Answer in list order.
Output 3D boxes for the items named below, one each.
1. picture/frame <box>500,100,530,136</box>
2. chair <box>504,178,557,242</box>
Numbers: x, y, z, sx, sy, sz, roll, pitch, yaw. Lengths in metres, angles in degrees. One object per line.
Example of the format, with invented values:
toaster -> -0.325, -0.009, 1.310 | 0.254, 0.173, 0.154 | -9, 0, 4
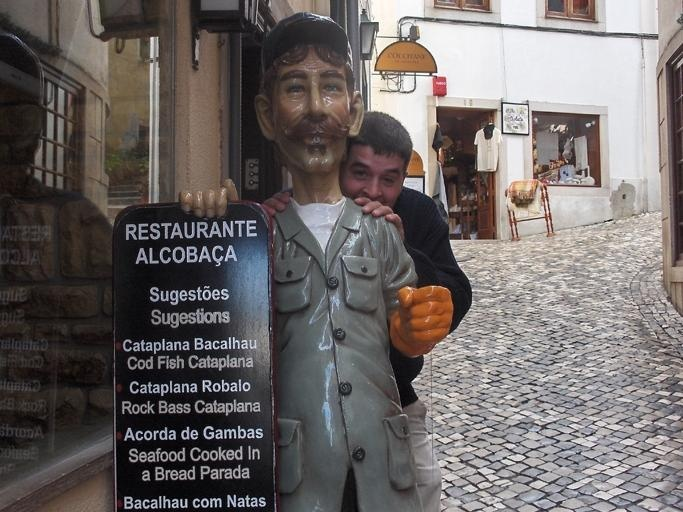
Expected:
picture/frame -> 3.569, -2.869, 15.672 | 0.567, 0.725, 0.061 | -5, -4, -26
chair -> 3.780, -0.973, 15.372 | 0.796, 1.319, 0.873 | -8, -2, 19
